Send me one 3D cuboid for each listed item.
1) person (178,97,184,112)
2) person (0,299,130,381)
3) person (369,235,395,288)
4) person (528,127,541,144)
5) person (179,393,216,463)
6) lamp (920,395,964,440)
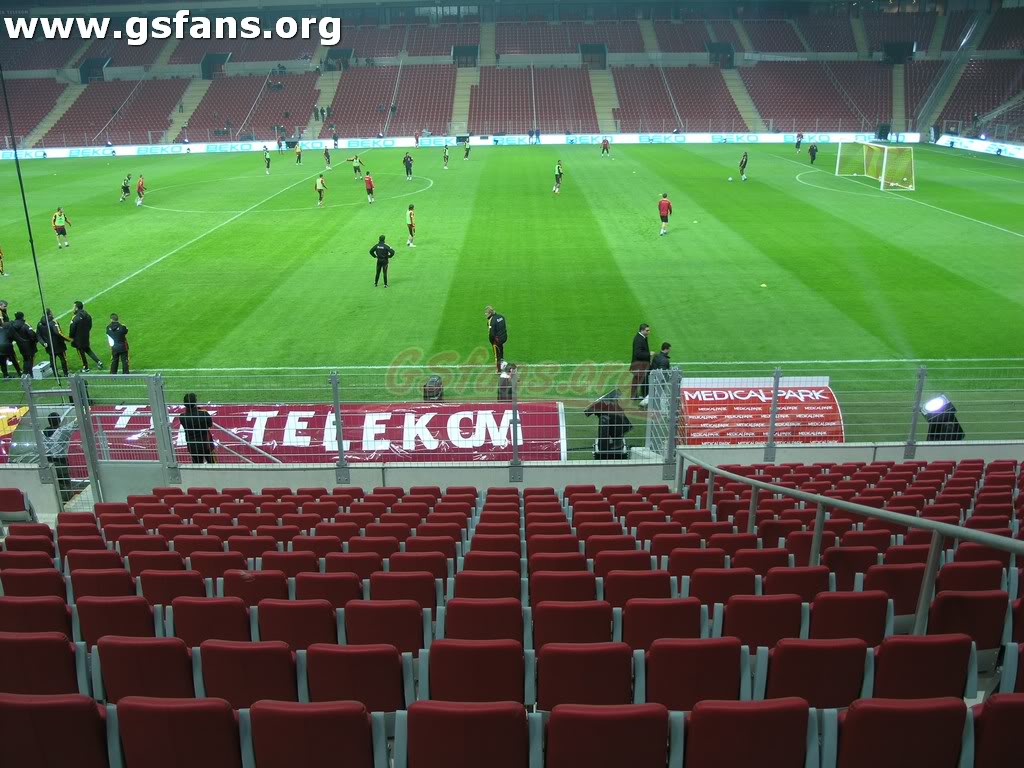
[{"bbox_3d":[-28.987,-24.213,78.623,0.581,1.113,1.732,-3,11,-18],"label":"person"},{"bbox_3d":[-10.027,-0.932,20.207,2.047,1.502,0.546,1,28,-10],"label":"person"},{"bbox_3d":[-3.665,-3.445,25.368,0.559,1.404,2.011,-1,10,-9],"label":"person"},{"bbox_3d":[1.724,-19.130,69.509,1.011,1.201,1.803,1,10,2],"label":"person"},{"bbox_3d":[-5.093,0.661,14.592,0.590,1.825,0.531,-7,55,-17],"label":"person"},{"bbox_3d":[7.021,0.550,14.688,0.770,0.737,0.541,1,10,7],"label":"lamp"}]
